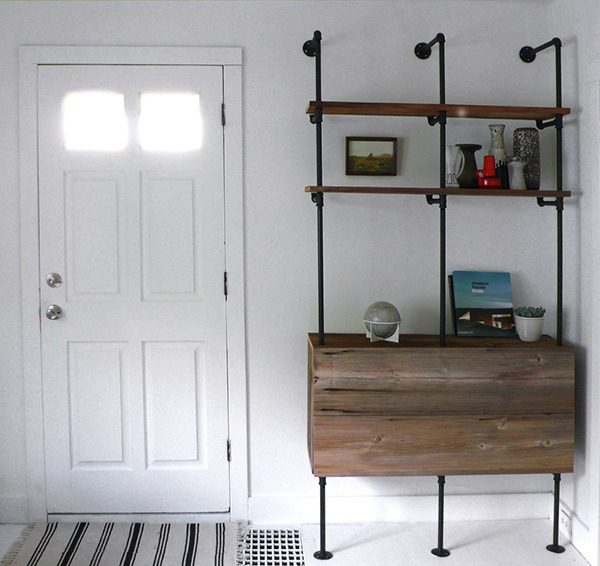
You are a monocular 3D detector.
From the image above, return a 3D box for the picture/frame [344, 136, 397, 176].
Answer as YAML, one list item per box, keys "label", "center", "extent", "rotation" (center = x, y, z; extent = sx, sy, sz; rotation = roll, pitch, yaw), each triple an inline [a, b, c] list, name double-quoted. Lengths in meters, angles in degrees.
- label: "picture/frame"
  center: [0.339, -0.624, 3.273]
  extent: [0.185, 0.143, 0.015]
  rotation: [1, 0, -6]

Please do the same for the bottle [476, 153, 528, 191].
- label: "bottle"
  center: [0.943, -0.513, 3.141]
  extent: [0.176, 0.153, 0.076]
  rotation: [-2, 5, -5]

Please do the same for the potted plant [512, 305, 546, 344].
- label: "potted plant"
  center: [1.056, 0.200, 3.145]
  extent: [0.148, 0.175, 0.147]
  rotation: [0, -2, 5]
